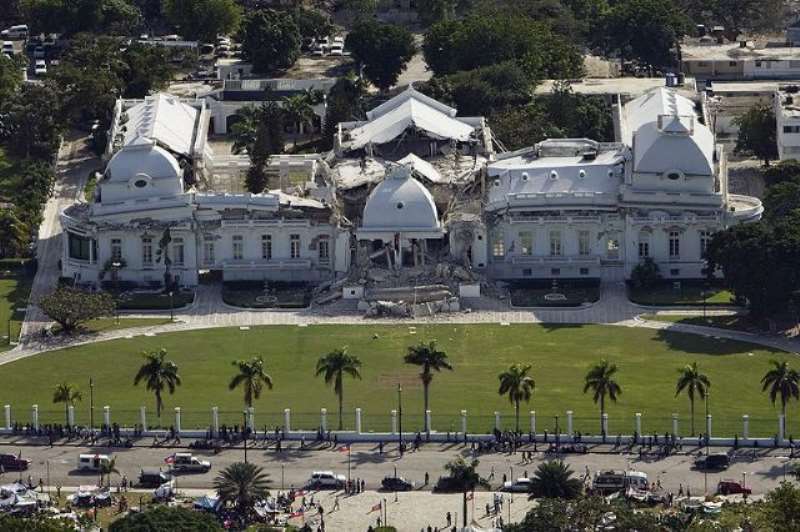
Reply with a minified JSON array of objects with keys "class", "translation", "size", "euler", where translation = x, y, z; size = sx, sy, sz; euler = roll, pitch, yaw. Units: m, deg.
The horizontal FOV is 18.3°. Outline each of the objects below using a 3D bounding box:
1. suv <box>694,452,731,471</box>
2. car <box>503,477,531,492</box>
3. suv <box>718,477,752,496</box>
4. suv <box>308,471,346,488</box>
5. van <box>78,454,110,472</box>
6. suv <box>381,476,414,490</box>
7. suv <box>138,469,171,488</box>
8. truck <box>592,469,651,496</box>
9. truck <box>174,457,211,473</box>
[{"class":"suv","translation":[37.286,23.489,297.649],"size":[3.630,1.284,1.928],"euler":[1,19,3]},{"class":"car","translation":[13.776,25.872,293.411],"size":[2.876,0.754,1.581],"euler":[1,19,3]},{"class":"suv","translation":[39.200,26.020,292.624],"size":[3.178,1.568,1.875],"euler":[-3,9,8]},{"class":"suv","translation":[-8.260,25.623,295.240],"size":[3.840,1.513,1.885],"euler":[-1,37,4]},{"class":"van","translation":[-36.324,23.771,297.972],"size":[3.308,1.290,2.121],"euler":[0,24,1]},{"class":"suv","translation":[-0.192,25.958,294.548],"size":[3.390,1.159,1.580],"euler":[-1,30,5]},{"class":"suv","translation":[-28.828,25.322,295.482],"size":[3.316,1.349,1.903],"euler":[0,36,3]},{"class":"truck","translation":[26.038,25.798,293.476],"size":[5.555,2.338,2.910],"euler":[-2,22,5]},{"class":"truck","translation":[-24.493,23.902,298.554],"size":[3.785,1.444,2.029],"euler":[0,13,0]}]
